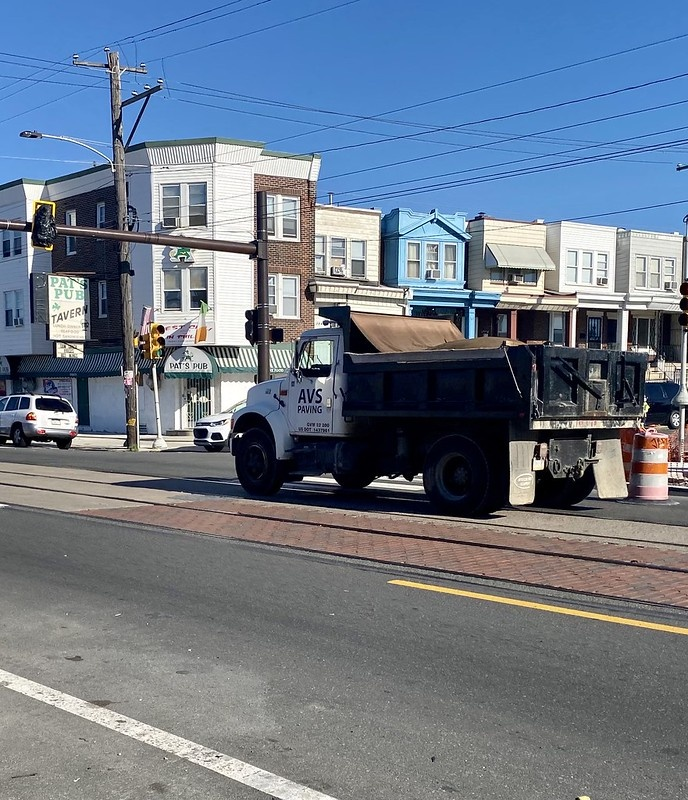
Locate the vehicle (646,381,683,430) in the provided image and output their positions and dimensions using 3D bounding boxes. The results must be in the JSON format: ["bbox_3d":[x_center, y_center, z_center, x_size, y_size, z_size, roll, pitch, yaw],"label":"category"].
[{"bbox_3d":[10.240,0.243,33.303,0.977,1.485,1.078,0,2,16],"label":"vehicle"}]

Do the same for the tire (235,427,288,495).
[{"bbox_3d":[-1.160,0.865,14.732,0.271,0.900,0.791,5,2,-38],"label":"tire"}]

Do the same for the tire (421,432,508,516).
[{"bbox_3d":[1.431,0.900,12.246,0.352,0.977,1.056,-2,2,-40],"label":"tire"}]

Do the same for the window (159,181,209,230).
[{"bbox_3d":[-5.616,-6.865,36.739,1.474,1.527,0.157,1,2,20],"label":"window"}]

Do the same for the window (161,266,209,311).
[{"bbox_3d":[-5.557,-3.959,36.709,1.352,1.403,0.139,1,-1,22],"label":"window"}]

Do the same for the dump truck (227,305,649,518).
[{"bbox_3d":[1.060,0.092,14.203,2.887,2.651,5.623,-2,2,-44],"label":"dump truck"}]

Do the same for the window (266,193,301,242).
[{"bbox_3d":[-2.166,-6.597,37.860,1.188,1.617,0.609,-1,2,-12],"label":"window"}]

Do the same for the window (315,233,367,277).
[{"bbox_3d":[-0.201,-5.616,40.623,1.724,1.188,0.088,2,1,-33],"label":"window"}]

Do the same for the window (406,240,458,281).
[{"bbox_3d":[3.499,-5.639,42.297,1.546,1.121,0.160,3,0,-32],"label":"window"}]

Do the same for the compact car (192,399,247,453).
[{"bbox_3d":[-2.966,0.772,27.478,1.075,1.131,2.223,-10,-15,44],"label":"compact car"}]
